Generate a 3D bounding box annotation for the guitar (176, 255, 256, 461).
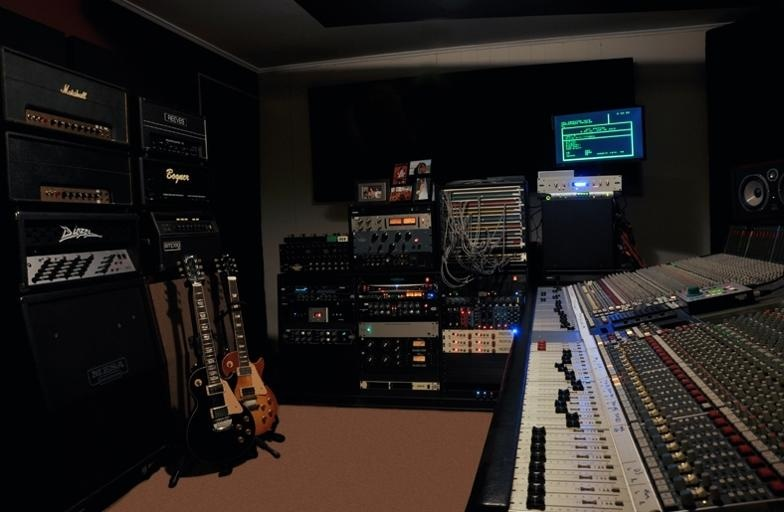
[{"bbox_3d":[-1.248,0.792,3.923,0.437,1.140,0.594,-6,13,-16],"label":"guitar"}]
